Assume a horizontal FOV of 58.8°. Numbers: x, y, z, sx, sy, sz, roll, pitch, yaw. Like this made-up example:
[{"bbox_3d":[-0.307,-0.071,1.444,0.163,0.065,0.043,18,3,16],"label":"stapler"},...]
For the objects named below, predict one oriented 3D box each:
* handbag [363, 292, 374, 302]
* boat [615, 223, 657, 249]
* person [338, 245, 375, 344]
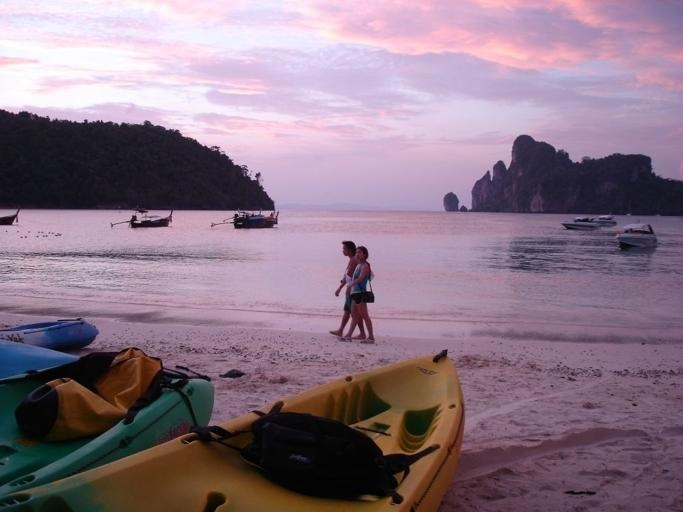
[{"bbox_3d":[0.432,0.667,9.905,0.186,0.167,0.078,-1,-4,-4],"label":"handbag"},{"bbox_3d":[19.713,-1.264,40.103,1.663,1.805,5.129,14,16,38],"label":"boat"},{"bbox_3d":[0.310,0.624,10.363,0.523,1.639,1.184,0,5,3],"label":"person"}]
